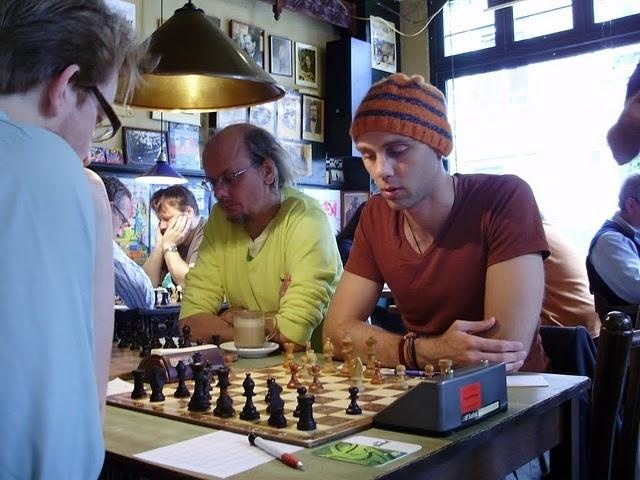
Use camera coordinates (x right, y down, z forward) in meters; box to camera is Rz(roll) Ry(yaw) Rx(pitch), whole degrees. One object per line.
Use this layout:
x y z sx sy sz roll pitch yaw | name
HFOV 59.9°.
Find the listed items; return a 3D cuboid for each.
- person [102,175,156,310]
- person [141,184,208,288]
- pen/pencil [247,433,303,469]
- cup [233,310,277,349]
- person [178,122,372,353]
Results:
-1.126 -0.001 3.300 0.322 0.969 0.341 0 6 -18 | person
-1.201 -0.058 4.600 0.580 1.234 0.606 -2 4 -35 | person
-0.085 0.388 1.023 0.144 0.027 0.024 8 1 45 | pen/pencil
-0.237 0.302 1.949 0.112 0.154 0.131 4 1 44 | cup
-0.270 -0.018 2.502 0.681 1.026 0.596 1 4 23 | person
